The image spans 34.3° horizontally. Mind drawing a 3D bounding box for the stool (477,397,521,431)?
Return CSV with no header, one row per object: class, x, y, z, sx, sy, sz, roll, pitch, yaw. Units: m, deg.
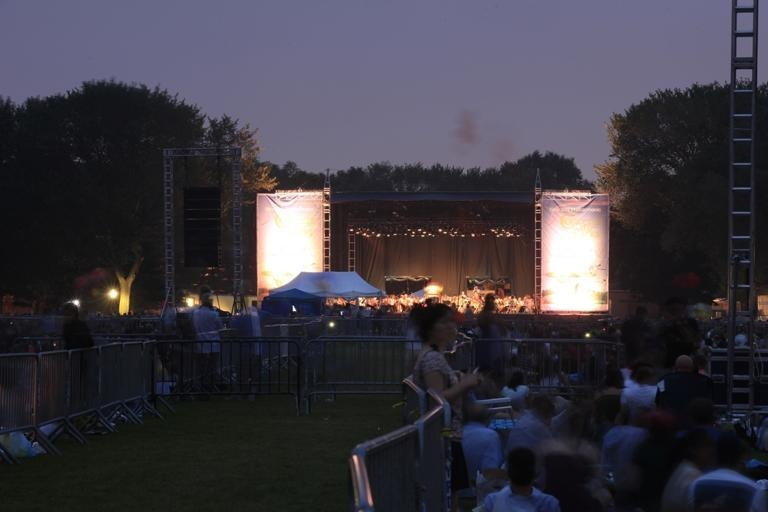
stool,2.742,3.812,29.881,0.781,0.681,1.607,-2,-3,4
